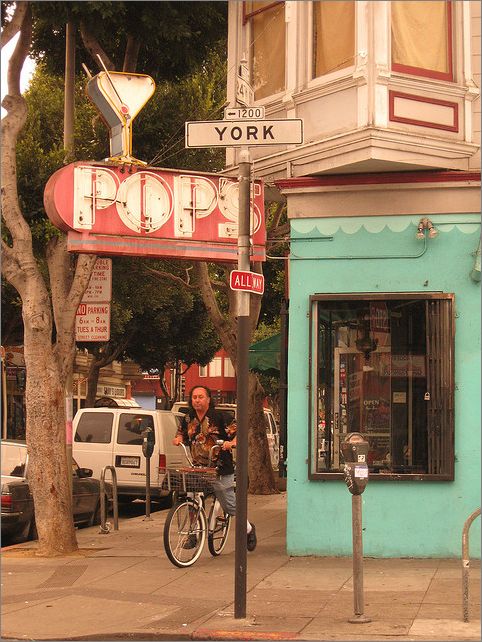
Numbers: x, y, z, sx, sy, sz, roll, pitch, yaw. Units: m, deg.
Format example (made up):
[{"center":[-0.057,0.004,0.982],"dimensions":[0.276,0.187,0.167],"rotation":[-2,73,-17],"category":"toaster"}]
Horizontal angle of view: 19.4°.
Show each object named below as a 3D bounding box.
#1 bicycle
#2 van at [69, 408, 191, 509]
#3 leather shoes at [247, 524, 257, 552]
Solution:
[{"center":[-0.462,1.855,14.286],"dimensions":[0.584,1.245,1.413],"rotation":[-2,-7,12],"category":"bicycle"},{"center":[-1.709,1.929,20.620],"dimensions":[1.085,1.010,1.792],"rotation":[-1,-3,18],"category":"van"},{"center":[0.115,2.248,14.714],"dimensions":[0.084,0.291,0.106],"rotation":[-3,-3,11],"category":"leather shoes"}]
